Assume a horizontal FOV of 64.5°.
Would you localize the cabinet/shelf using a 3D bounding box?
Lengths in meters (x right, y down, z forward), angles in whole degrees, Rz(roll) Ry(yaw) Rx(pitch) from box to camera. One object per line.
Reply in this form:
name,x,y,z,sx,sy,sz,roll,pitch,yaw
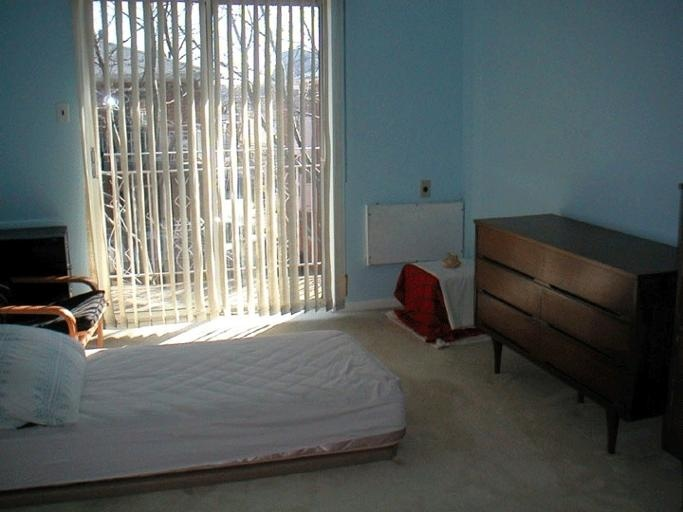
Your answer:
cabinet/shelf,1.325,0.440,3.035,0.444,0.857,1.166,-3,13,-11
